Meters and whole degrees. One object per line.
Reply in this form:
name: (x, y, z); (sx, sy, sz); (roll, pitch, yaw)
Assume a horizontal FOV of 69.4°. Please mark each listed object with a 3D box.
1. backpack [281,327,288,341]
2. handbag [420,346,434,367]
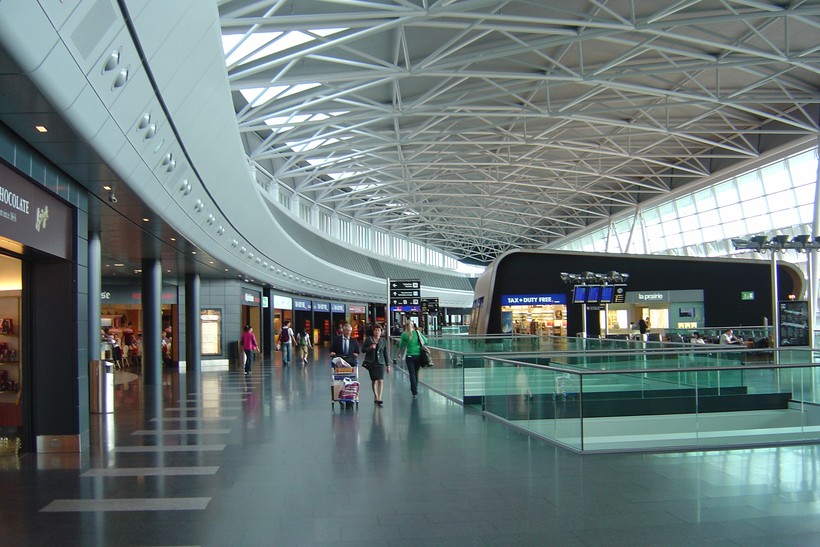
backpack: (-5.295, 2.617, 24.936); (0.203, 0.623, 0.368); (5, -10, -37)
handbag: (0.400, 2.144, 15.003); (0.368, 0.708, 0.690); (-2, -10, -1)
